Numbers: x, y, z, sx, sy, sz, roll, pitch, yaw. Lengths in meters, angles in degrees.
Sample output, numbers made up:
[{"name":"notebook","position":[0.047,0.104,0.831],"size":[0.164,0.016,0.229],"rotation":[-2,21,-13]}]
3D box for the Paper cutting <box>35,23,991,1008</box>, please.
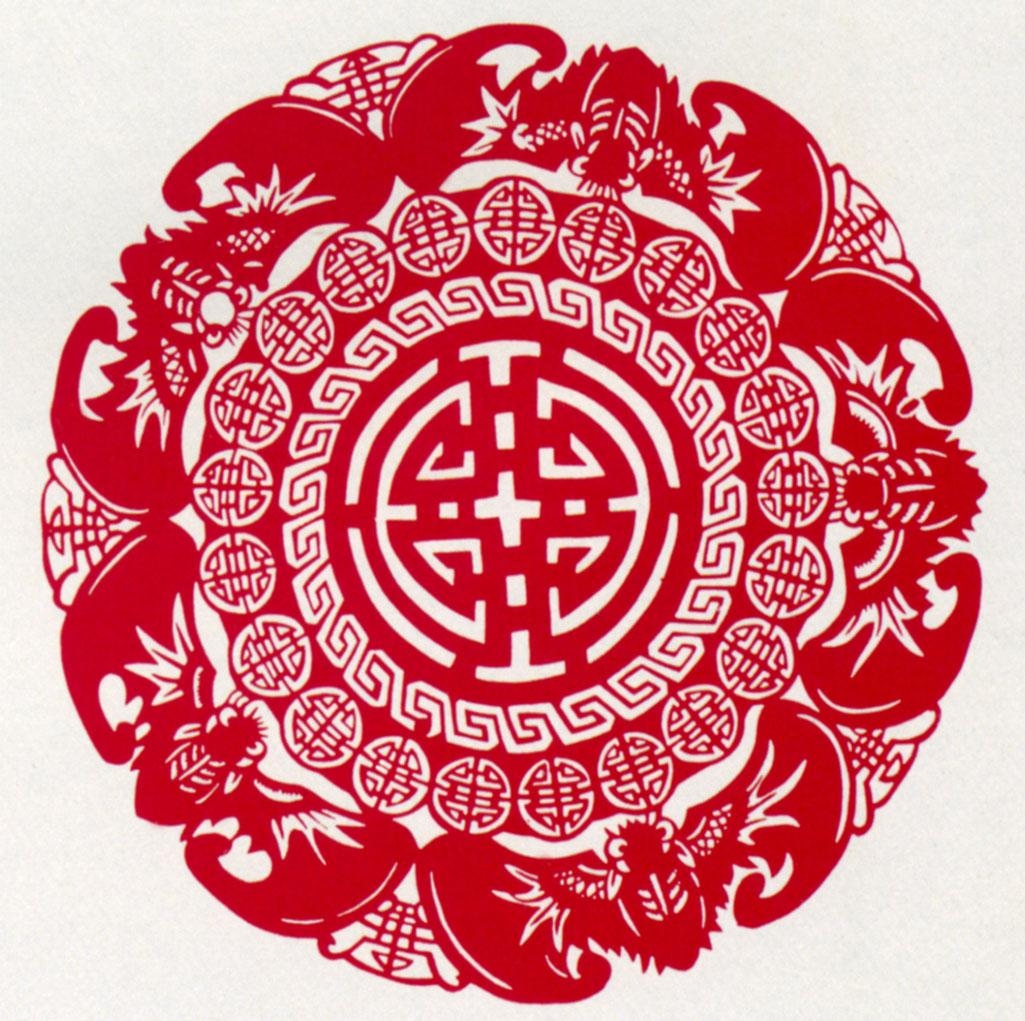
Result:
[{"name":"Paper cutting","position":[-0.003,0.004,2.985],"size":[1.251,0.169,1.243],"rotation":[18,-85,-2]}]
